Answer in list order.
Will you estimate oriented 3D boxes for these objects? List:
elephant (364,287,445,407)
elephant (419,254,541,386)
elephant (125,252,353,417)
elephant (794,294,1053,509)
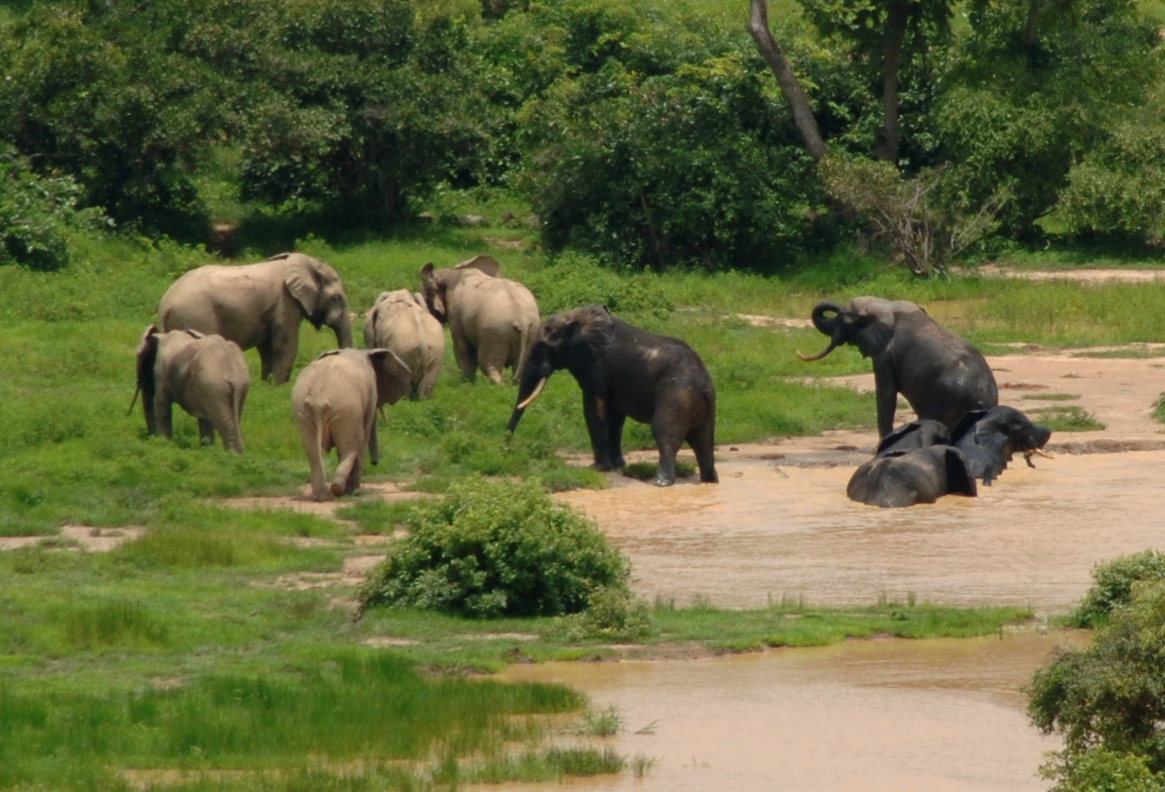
[{"bbox_3d":[-3.474,-1.199,51.825,1.119,1.512,2.659,-3,22,-15],"label":"elephant"},{"bbox_3d":[-1.858,-1.830,54.102,1.479,1.991,3.418,-5,18,-28],"label":"elephant"},{"bbox_3d":[-6.496,-1.754,52.371,5.102,2.938,2.081,-10,16,-24],"label":"elephant"},{"bbox_3d":[6.095,-0.446,50.615,1.414,2.823,4.750,-6,25,-45],"label":"elephant"}]
